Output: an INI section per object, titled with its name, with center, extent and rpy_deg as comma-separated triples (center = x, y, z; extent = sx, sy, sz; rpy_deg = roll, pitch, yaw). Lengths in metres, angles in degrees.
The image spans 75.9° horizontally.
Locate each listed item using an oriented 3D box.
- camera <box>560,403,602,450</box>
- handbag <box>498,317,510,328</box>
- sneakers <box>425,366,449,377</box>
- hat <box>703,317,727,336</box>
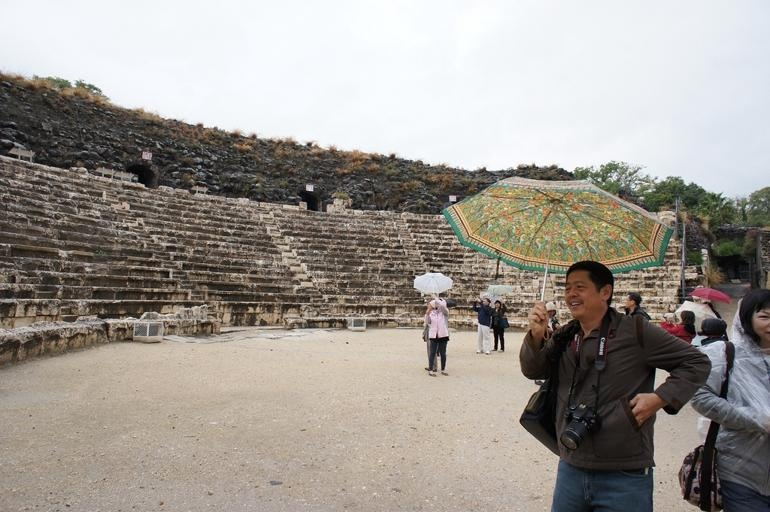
[camera]
center = 1.562, 1.361, 3.974
extent = 0.309, 0.193, 0.354
rpy_deg = -8, 30, 41
[handbag]
center = 3.479, 1.973, 14.559
extent = 0.273, 0.436, 0.334
rpy_deg = 1, -12, 5
[sneakers]
center = 1.085, 2.502, 10.526
extent = 0.530, 0.212, 0.155
rpy_deg = -3, 21, -10
[hat]
center = 3.498, 0.748, 5.273
extent = 0.175, 0.180, 0.250
rpy_deg = 5, 10, 41
